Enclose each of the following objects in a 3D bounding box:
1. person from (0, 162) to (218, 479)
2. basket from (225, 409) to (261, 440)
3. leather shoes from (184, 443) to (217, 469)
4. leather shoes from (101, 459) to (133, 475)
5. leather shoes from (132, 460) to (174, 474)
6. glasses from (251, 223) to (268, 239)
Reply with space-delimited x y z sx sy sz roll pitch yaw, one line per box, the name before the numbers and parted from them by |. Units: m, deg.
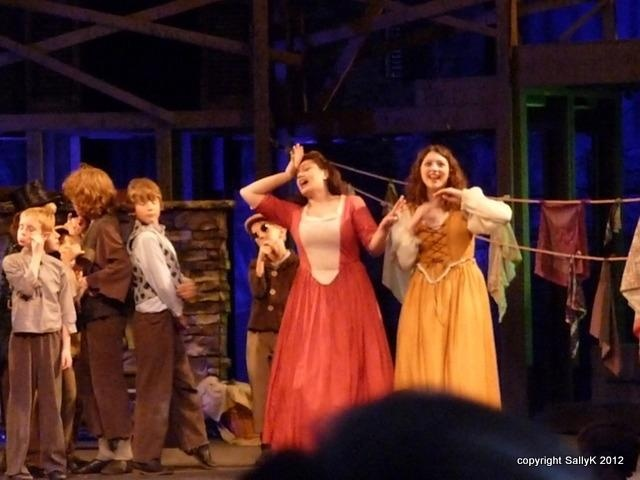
person | -1.473 0.452 4.705 1.443 1.787 1.107 0 -10 42
basket | -0.540 1.270 5.192 0.159 0.268 0.069 -19 1 -4
leather shoes | -0.691 1.291 4.507 0.191 0.147 0.198 5 -8 14
leather shoes | -1.181 1.310 4.348 0.148 0.062 0.084 3 -1 1
leather shoes | -0.951 1.300 4.319 0.249 0.103 0.086 -1 0 -8
glasses | -0.397 -0.054 4.993 0.094 0.112 0.046 -4 -7 16
